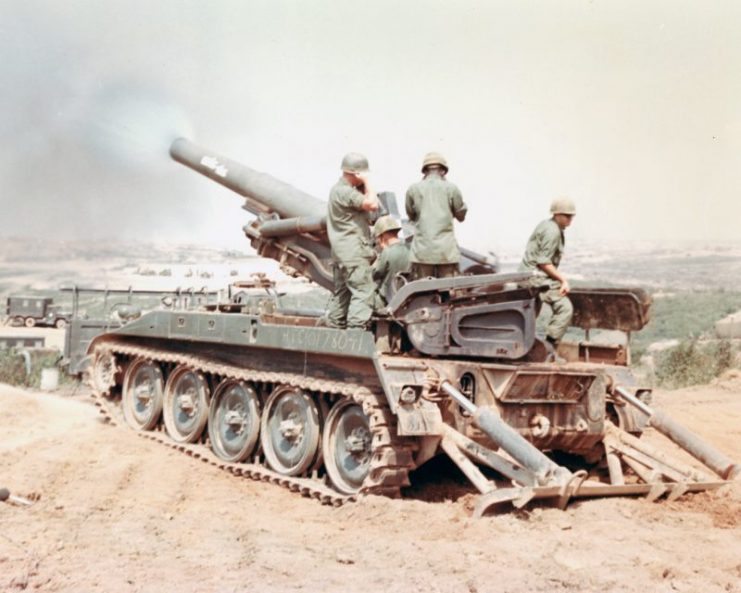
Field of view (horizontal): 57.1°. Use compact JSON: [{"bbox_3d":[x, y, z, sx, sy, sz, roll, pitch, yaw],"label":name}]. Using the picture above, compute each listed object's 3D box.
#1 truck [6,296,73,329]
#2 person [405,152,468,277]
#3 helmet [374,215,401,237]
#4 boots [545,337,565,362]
[{"bbox_3d":[-18.649,0.914,37.793,3.493,2.214,1.622,-1,2,-9],"label":"truck"},{"bbox_3d":[0.760,-0.961,7.975,0.687,1.497,0.438,-1,1,5],"label":"person"},{"bbox_3d":[0.219,-0.907,8.317,0.226,0.176,0.296,-16,2,41],"label":"helmet"},{"bbox_3d":[2.223,0.611,8.271,0.259,0.146,0.399,9,0,9],"label":"boots"}]
